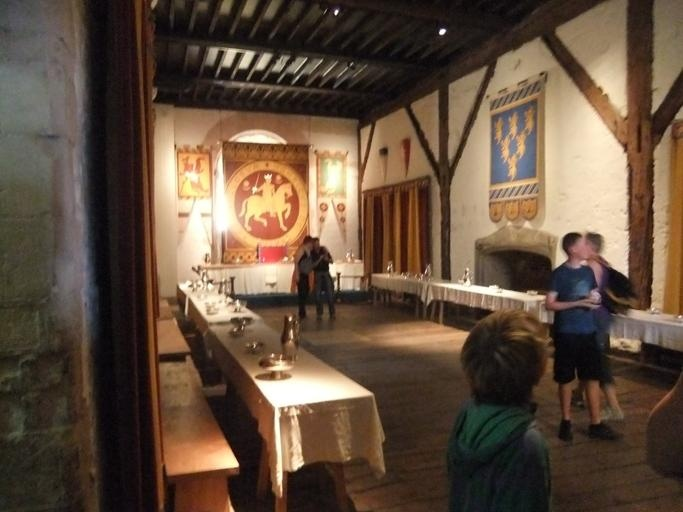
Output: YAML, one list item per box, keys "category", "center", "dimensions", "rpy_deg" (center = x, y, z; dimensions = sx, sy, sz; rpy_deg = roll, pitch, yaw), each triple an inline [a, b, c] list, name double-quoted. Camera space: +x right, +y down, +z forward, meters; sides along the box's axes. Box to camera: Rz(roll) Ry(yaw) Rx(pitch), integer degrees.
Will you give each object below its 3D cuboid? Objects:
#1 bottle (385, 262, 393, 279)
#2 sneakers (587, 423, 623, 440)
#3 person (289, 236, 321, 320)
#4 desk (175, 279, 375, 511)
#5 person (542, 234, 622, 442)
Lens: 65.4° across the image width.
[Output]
- category: "bottle"
  center: [0.997, 0.275, 10.900]
  dimensions: [0.181, 0.408, 0.130]
  rpy_deg: [8, 12, 44]
- category: "sneakers"
  center: [1.959, 1.284, 3.932]
  dimensions: [0.228, 0.132, 0.095]
  rpy_deg: [-1, 0, 0]
- category: "person"
  center: [-0.605, 0.433, 9.099]
  dimensions: [0.545, 2.050, 0.790]
  rpy_deg: [-3, 17, -11]
- category: "desk"
  center: [-0.423, 1.006, 3.630]
  dimensions: [0.626, 0.864, 1.969]
  rpy_deg: [-2, 5, -23]
- category: "person"
  center: [1.715, 0.581, 3.835]
  dimensions: [0.549, 1.503, 0.367]
  rpy_deg: [-3, 4, -34]
